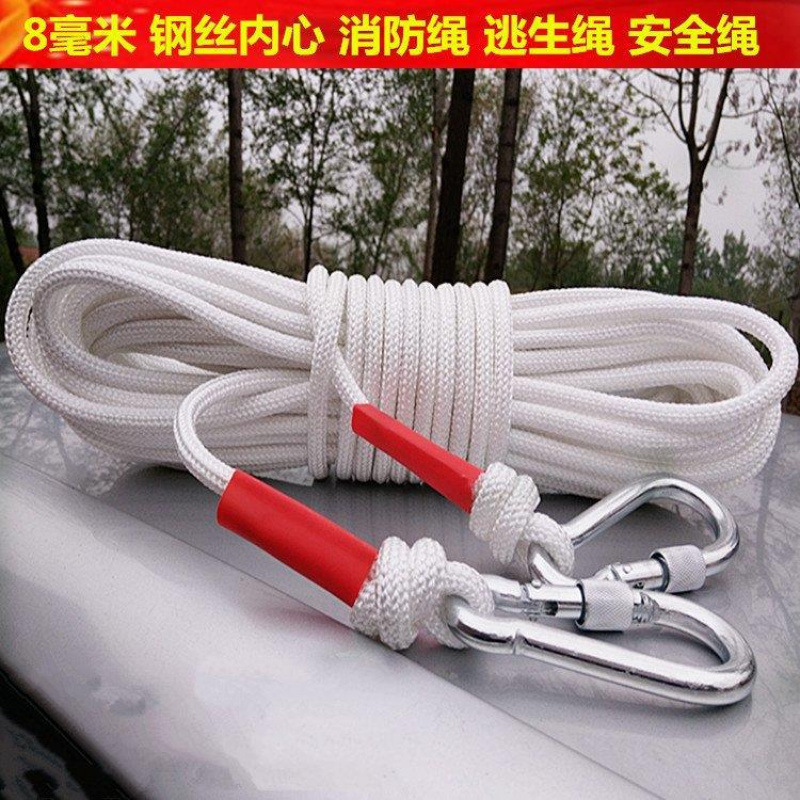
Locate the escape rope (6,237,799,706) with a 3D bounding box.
[{"bbox_3d":[-0.007,0.110,0.617,0.498,0.169,0.380,6,53,-1],"label":"escape rope"}]
